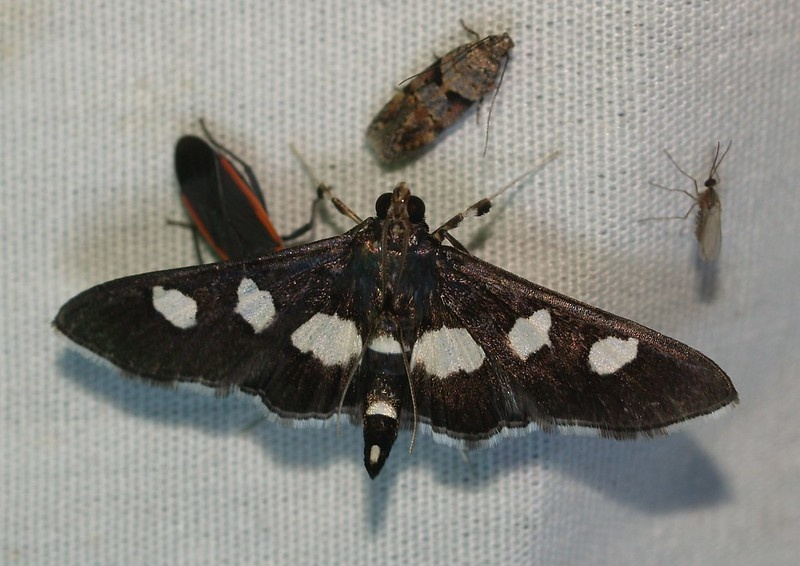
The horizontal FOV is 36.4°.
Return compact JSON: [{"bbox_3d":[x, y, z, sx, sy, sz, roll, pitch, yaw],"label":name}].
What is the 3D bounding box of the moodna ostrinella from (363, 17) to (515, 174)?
[{"bbox_3d":[0.209,-1.040,6.698,0.677,0.742,1.277,12,24,20],"label":"moodna ostrinella"}]
